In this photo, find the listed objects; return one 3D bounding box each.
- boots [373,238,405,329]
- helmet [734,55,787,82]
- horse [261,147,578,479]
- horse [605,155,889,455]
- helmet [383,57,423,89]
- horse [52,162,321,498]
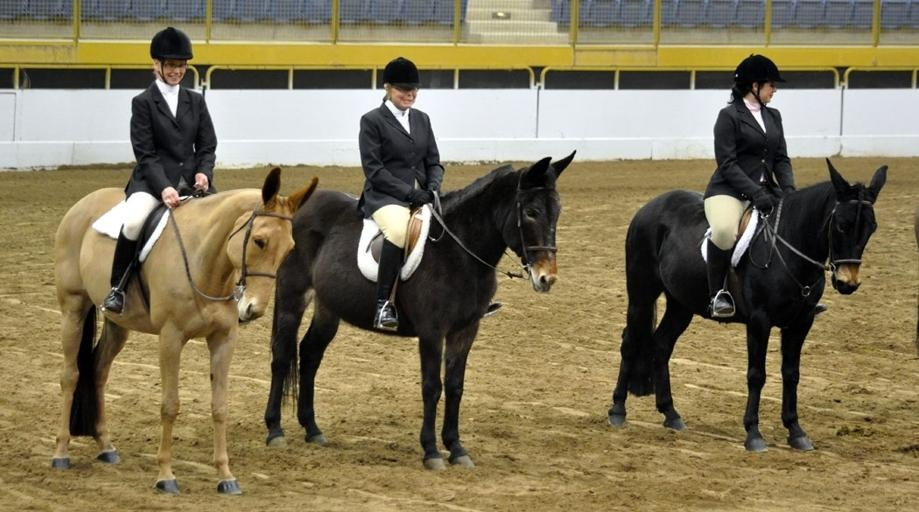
[{"bbox_3d":[-1.150,0.446,18.485,0.461,1.504,0.324,1,10,-1],"label":"boots"},{"bbox_3d":[5.137,-3.181,19.443,0.639,0.375,0.503,-5,13,9],"label":"helmet"},{"bbox_3d":[-1.022,1.005,19.361,5.964,4.917,2.063,1,-2,34],"label":"horse"},{"bbox_3d":[4.861,0.799,20.193,1.793,4.675,6.029,2,1,-32],"label":"horse"},{"bbox_3d":[-0.994,-3.015,18.744,0.546,0.363,0.449,13,13,41],"label":"helmet"},{"bbox_3d":[-4.969,1.205,18.721,6.160,5.102,1.755,4,0,42],"label":"horse"}]
